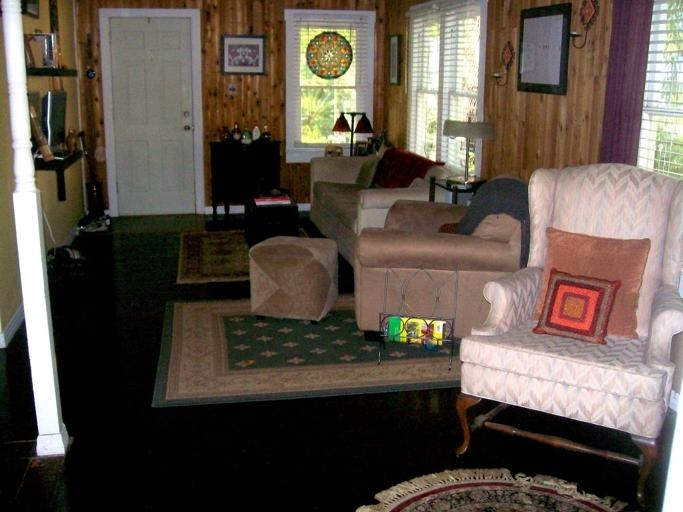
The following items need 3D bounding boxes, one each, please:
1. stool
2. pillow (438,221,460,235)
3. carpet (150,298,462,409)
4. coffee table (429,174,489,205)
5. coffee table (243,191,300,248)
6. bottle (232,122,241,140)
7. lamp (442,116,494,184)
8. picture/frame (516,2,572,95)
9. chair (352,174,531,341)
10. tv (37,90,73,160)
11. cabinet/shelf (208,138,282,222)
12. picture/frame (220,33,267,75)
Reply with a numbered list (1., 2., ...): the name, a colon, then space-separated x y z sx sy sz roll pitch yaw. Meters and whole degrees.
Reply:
1. stool: -0.348 0.109 4.331 0.591 0.523 0.610 3 11 14
2. pillow: 0.816 -0.212 4.341 0.107 0.113 0.032 -6 -18 26
3. carpet: -0.309 0.607 4.080 2.039 0.079 1.493 -3 18 -6
4. coffee table: 1.085 -0.686 5.377 0.374 0.376 0.389 -3 26 -11
5. coffee table: -0.747 -0.455 6.095 0.502 0.503 0.529 -4 26 -9
6. bottle: -1.405 -1.656 7.587 0.124 0.213 0.334 -4 18 -9
7. lamp: 1.163 -0.941 5.286 0.349 0.601 0.384 8 14 31
8. picture/frame: 1.683 -1.713 4.690 0.039 0.850 0.778 -4 13 -23
9. chair: 0.776 -0.040 4.353 1.446 1.082 1.535 -2 12 -6
10. tv: -2.388 -1.091 4.738 0.206 0.536 0.827 -8 19 -20
11. cabinet/shelf: -1.236 -1.001 7.254 1.056 1.214 0.459 -2 24 -9
12. picture/frame: -1.333 -2.692 7.562 0.527 0.463 0.042 -5 16 -16
